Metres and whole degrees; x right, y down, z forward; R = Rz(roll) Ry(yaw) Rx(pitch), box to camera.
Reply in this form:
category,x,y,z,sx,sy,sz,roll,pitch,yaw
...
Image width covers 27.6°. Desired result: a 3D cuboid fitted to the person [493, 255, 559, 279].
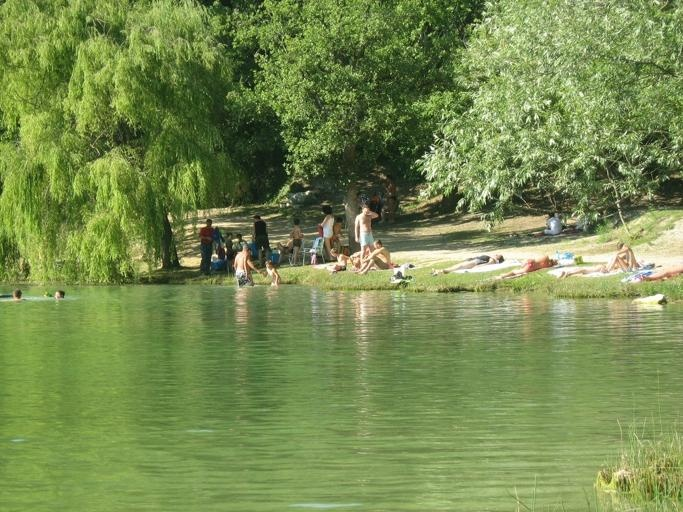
category,x,y,z,sx,sy,sz,roll,pitch,yaw
person,6.135,0.368,45.192,1.493,0.278,0.832,-20,11,-19

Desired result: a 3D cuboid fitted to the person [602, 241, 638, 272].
category,x,y,z,sx,sy,sz,roll,pitch,yaw
person,8.762,0.007,43.465,1.014,0.871,0.505,-5,3,12
